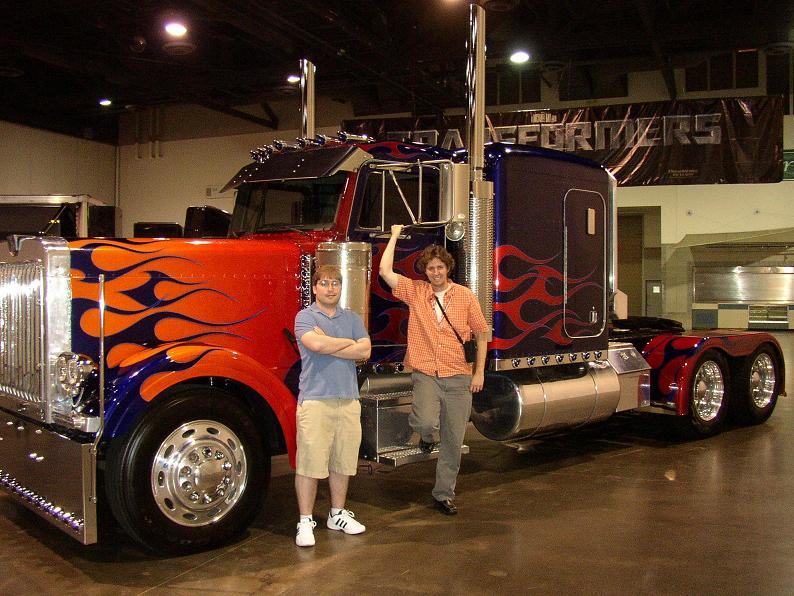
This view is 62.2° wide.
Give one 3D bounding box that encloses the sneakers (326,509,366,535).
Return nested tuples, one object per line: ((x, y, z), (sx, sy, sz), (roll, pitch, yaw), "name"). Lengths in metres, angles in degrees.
((-0.380, 1.609, 4.775), (0.290, 0.128, 0.140), (-1, -5, 27), "sneakers")

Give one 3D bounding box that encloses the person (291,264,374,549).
((-0.476, 0.730, 4.641), (0.536, 1.918, 0.351), (-1, 2, -24), "person")

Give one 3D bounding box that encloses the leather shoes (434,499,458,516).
((0.392, 1.636, 5.151), (0.078, 0.090, 0.206), (3, -7, -36), "leather shoes")

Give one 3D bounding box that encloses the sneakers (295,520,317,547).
((-0.632, 1.600, 4.507), (0.128, 0.192, 0.089), (0, 2, -13), "sneakers")
